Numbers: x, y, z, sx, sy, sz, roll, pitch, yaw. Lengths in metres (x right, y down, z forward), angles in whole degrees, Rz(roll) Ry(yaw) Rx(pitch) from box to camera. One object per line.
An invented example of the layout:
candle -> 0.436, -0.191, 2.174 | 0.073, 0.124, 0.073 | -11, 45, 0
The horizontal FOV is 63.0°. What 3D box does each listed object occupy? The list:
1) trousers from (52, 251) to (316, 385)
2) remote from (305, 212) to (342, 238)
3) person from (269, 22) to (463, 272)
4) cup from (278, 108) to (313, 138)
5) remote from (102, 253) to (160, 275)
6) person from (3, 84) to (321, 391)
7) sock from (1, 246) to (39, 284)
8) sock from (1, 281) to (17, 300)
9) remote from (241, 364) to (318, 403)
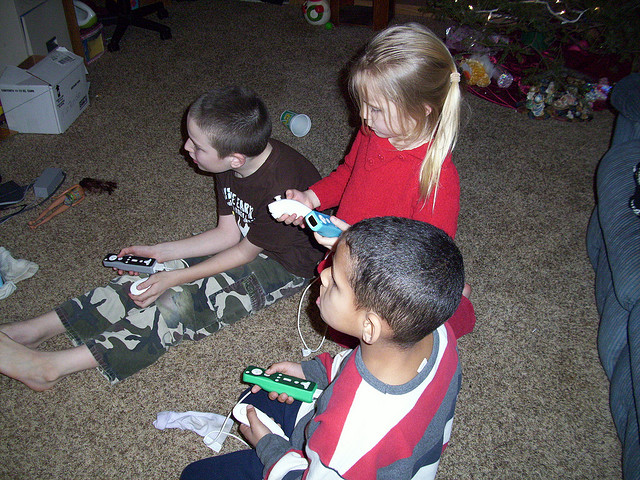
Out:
trousers -> -0.553, 0.247, 2.107 | 0.912, 0.216, 0.312 | -22, 53, -18
remote -> 0.010, -0.047, 1.799 | 0.129, 0.038, 0.064 | 18, 51, -41
person -> 0.148, -0.192, 1.976 | 0.676, 1.105, 0.535 | -2, 34, -9
cup -> -0.161, -0.680, 3.049 | 0.093, 0.100, 0.136 | -15, 63, -1
remote -> -0.761, 0.095, 2.131 | 0.217, 0.046, 0.059 | 8, 51, 13
person -> -0.722, 0.020, 2.270 | 1.317, 0.916, 0.525 | -22, 61, -18
sock -> -1.368, 0.103, 2.351 | 0.147, 0.065, 0.179 | -31, 57, -24
sock -> -1.348, 0.222, 2.265 | 0.020, 0.049, 0.070 | -3, 54, 48
remote -> -0.126, 0.480, 1.744 | 0.236, 0.059, 0.066 | 19, 34, 12
